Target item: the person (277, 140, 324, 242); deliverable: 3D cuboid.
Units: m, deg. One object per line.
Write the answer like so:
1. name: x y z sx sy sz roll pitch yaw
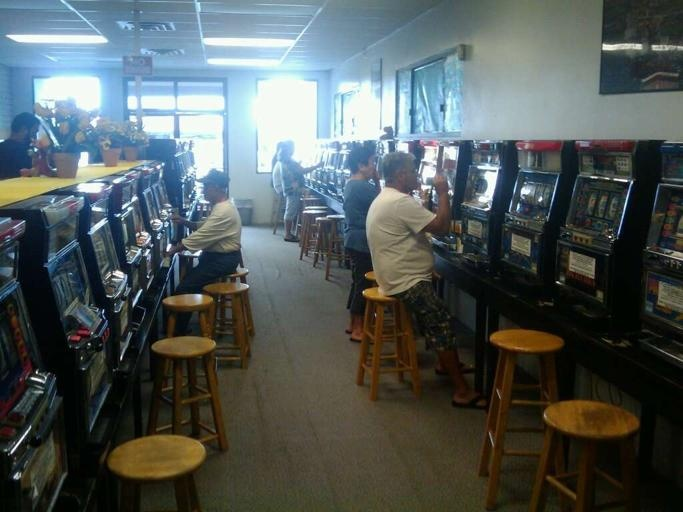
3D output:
1. person: -0.811 -1.236 9.912 0.810 1.907 0.776 -1 7 -23

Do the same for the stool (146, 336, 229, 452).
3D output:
1. stool: -0.906 0.837 3.018 0.432 0.621 0.433 2 2 29

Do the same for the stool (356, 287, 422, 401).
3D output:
1. stool: 0.364 0.625 3.866 0.454 0.733 0.438 -3 5 -23

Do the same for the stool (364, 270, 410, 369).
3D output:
1. stool: 0.320 0.576 3.986 0.322 0.645 0.320 4 17 3

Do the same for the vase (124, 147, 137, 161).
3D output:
1. vase: -2.107 -1.021 5.145 0.130 0.107 0.133 4 20 3

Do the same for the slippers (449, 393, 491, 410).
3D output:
1. slippers: 0.903 1.013 3.581 0.209 0.057 0.097 -2 7 15

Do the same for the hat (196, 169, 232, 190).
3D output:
1. hat: -1.211 -0.730 4.818 0.232 0.126 0.163 13 7 1

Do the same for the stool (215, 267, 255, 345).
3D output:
1. stool: -1.026 0.550 4.752 0.371 0.503 0.368 -6 15 -32

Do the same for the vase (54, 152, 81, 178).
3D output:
1. vase: -1.682 -0.565 3.187 0.146 0.134 0.149 0 8 -4

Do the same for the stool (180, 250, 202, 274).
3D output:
1. stool: -1.550 0.056 5.257 0.232 0.265 0.230 -1 10 -11

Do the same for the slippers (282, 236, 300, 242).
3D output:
1. slippers: -0.957 -0.339 10.025 0.307 0.125 0.115 2 6 29

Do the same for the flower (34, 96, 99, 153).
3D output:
1. flower: -1.761 -0.840 3.289 0.323 0.332 0.509 -9 18 -24

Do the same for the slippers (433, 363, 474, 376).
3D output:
1. slippers: 0.912 0.911 4.097 0.339 0.126 0.116 -2 8 5

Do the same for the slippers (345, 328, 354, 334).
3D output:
1. slippers: 0.075 0.741 5.038 0.068 0.047 0.032 3 1 -8

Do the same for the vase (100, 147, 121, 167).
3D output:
1. vase: -1.934 -0.831 4.297 0.157 0.140 0.160 0 2 -2

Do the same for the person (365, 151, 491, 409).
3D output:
1. person: 0.578 0.226 3.659 0.896 1.554 0.383 5 17 20
